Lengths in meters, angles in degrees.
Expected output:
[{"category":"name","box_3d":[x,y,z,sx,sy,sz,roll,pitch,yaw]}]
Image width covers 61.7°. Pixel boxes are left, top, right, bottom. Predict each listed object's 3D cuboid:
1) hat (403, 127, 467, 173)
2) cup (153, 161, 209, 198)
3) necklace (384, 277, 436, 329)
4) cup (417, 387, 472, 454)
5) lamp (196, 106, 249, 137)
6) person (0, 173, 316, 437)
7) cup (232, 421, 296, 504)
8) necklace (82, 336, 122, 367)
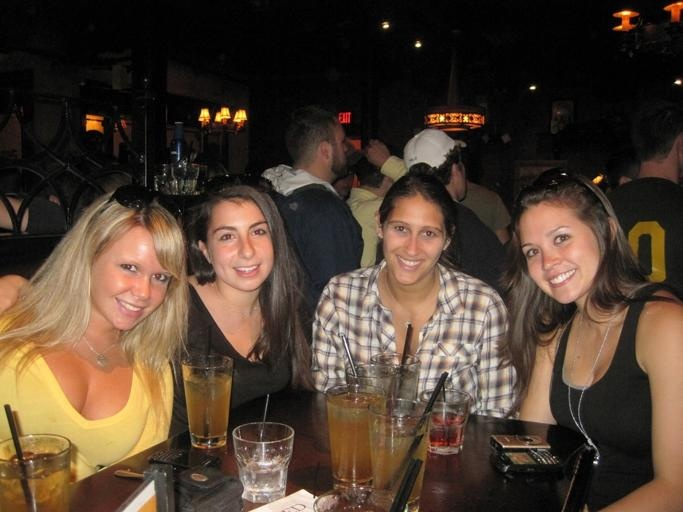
[{"category":"hat","box_3d":[0.649,-0.749,4.071,0.249,0.186,0.352,-2,41,45]},{"category":"cup","box_3d":[-0.903,-0.435,3.246,0.304,0.172,0.293,0,-3,0]},{"category":"necklace","box_3d":[0.363,0.250,2.987,0.235,0.290,0.157,1,-10,5]},{"category":"cup","box_3d":[0.379,0.580,2.098,0.216,0.224,0.209,2,3,0]},{"category":"lamp","box_3d":[-2.337,-2.655,11.282,0.706,0.330,0.674,-3,10,-29]},{"category":"person","box_3d":[-0.799,0.243,2.514,1.108,0.996,0.623,-14,10,-6]},{"category":"cup","box_3d":[-0.259,0.643,1.849,0.220,0.219,0.208,-1,4,0]},{"category":"necklace","box_3d":[-1.023,0.428,2.466,0.138,0.129,0.035,8,-32,-46]}]
